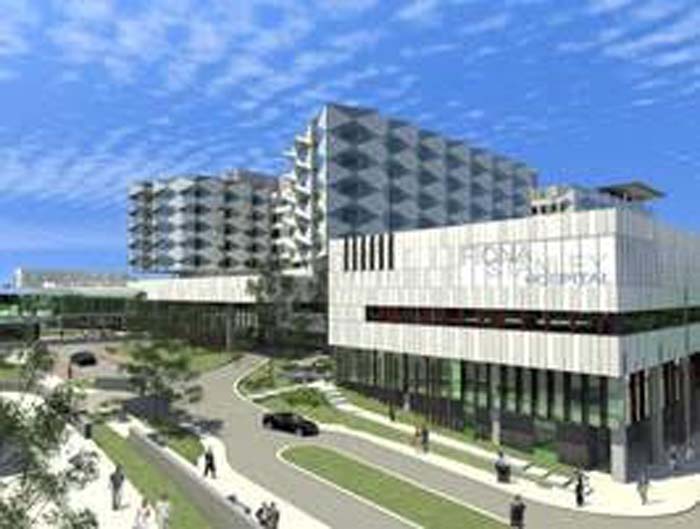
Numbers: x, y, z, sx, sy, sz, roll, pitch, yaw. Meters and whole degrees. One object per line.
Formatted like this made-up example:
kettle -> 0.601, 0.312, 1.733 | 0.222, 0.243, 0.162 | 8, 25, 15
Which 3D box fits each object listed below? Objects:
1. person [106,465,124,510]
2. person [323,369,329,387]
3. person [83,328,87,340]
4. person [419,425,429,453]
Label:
person -> -13.477, 12.851, 35.464 | 0.645, 2.640, 1.246 | 1, 8, -21
person -> -2.379, 12.135, 64.308 | 0.701, 0.944, 0.393 | 3, -8, -3
person -> -41.610, 11.225, 97.049 | 0.391, 1.095, 0.513 | 2, 1, -2
person -> 5.702, 13.569, 46.950 | 0.500, 1.867, 0.769 | 0, 9, -28
